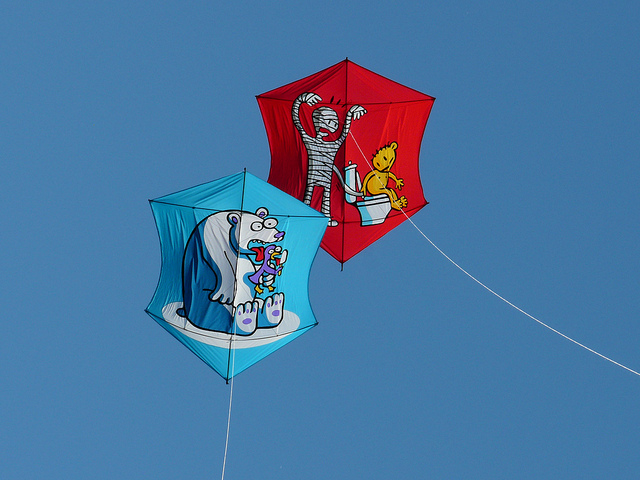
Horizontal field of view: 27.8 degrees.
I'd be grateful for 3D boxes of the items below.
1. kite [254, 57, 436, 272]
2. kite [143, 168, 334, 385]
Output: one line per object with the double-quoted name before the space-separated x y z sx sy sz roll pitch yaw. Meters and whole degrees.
"kite" 0.497 -1.356 18.874 2.351 3.349 2.742 1 27 4
"kite" -1.229 0.651 18.462 2.480 2.609 4.337 6 78 -19
